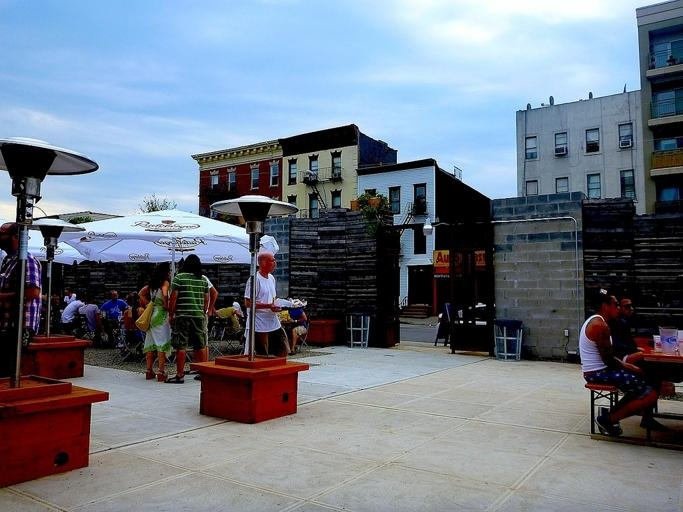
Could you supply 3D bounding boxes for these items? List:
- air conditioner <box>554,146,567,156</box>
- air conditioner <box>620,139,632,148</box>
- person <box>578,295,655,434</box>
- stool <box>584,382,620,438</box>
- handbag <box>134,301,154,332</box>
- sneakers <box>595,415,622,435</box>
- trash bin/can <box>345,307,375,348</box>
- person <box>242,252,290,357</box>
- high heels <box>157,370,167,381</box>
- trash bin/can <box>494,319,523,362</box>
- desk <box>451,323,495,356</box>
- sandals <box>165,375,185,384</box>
[{"bbox_3d":[13.742,-6.531,34.612,0.616,0.550,0.344,-10,-15,41],"label":"air conditioner"},{"bbox_3d":[16.579,-6.484,32.147,0.313,0.472,0.592,2,-3,-44],"label":"air conditioner"},{"bbox_3d":[3.530,1.326,7.071,0.841,1.779,0.515,-2,-4,26],"label":"person"},{"bbox_3d":[3.397,1.998,7.186,0.639,0.586,0.475,-5,-14,29],"label":"stool"},{"bbox_3d":[-3.485,1.073,9.751,0.278,0.521,0.288,2,-4,-31],"label":"handbag"},{"bbox_3d":[3.349,2.094,6.913,0.284,0.242,0.175,-2,-4,23],"label":"sneakers"},{"bbox_3d":[0.494,2.013,15.492,0.778,0.992,0.402,-1,-4,9],"label":"trash bin/can"},{"bbox_3d":[-1.182,0.764,8.689,0.657,1.664,1.544,0,-4,-4],"label":"person"},{"bbox_3d":[-3.157,2.095,9.800,0.221,0.202,0.129,2,1,-30],"label":"high heels"},{"bbox_3d":[4.118,2.026,13.450,0.875,1.015,0.850,0,-9,2],"label":"trash bin/can"},{"bbox_3d":[3.535,2.102,14.449,1.366,1.029,0.751,-1,-2,35],"label":"desk"},{"bbox_3d":[-2.961,2.153,9.714,0.379,0.140,0.126,4,-8,12],"label":"sandals"}]
